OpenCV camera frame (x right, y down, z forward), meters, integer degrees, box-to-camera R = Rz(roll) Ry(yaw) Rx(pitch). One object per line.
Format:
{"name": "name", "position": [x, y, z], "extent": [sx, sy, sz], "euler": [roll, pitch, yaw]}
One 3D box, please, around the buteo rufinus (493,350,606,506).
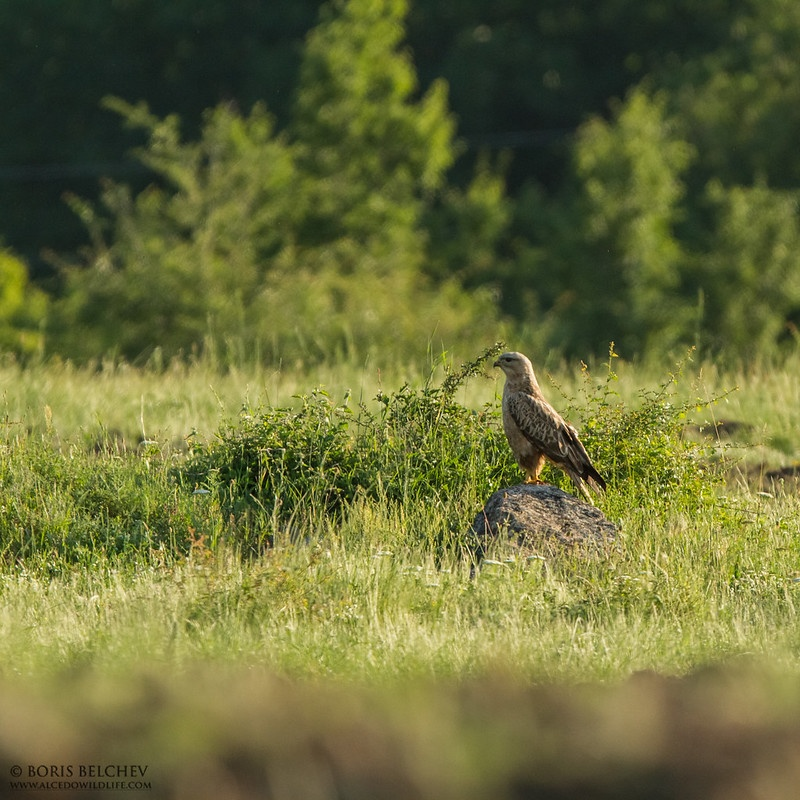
{"name": "buteo rufinus", "position": [1.143, 0.222, 13.995], "extent": [0.861, 0.514, 1.231], "euler": [2, 75, 9]}
